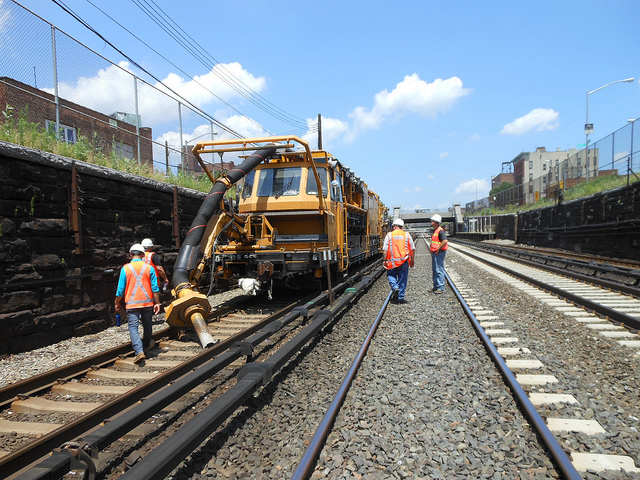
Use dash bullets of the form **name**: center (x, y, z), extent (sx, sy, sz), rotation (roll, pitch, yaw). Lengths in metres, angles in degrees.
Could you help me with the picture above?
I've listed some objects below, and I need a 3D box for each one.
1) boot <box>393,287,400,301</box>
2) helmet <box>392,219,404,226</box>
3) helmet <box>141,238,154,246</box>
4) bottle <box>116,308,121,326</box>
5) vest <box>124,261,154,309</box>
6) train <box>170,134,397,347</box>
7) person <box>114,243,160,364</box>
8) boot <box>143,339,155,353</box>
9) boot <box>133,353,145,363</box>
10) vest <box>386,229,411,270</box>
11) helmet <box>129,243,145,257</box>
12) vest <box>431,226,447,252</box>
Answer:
- **boot**: center (2.101, 1.510, 10.258), extent (0.117, 0.393, 0.144), rotation (-2, 17, 0)
- **helmet**: center (2.122, -0.460, 10.019), extent (0.221, 0.132, 0.166), rotation (8, 2, -6)
- **helmet**: center (-3.472, 0.060, 7.462), extent (0.176, 0.127, 0.227), rotation (-1, 6, -1)
- **bottle**: center (-3.601, 1.358, 6.627), extent (0.070, 0.271, 0.303), rotation (-5, 7, -32)
- **vest**: center (-3.385, 0.866, 6.913), extent (0.518, 0.956, 0.606), rotation (-12, -10, 26)
- **train**: center (-0.893, -0.540, 12.584), extent (2.848, 4.509, 12.066), rotation (-1, 1, 16)
- **person**: center (-3.284, 1.114, 6.757), extent (0.719, 2.009, 0.737), rotation (4, 8, 38)
- **boot**: center (-3.188, 1.969, 6.986), extent (0.134, 0.234, 0.331), rotation (-1, 6, -1)
- **boot**: center (-3.187, 2.072, 6.515), extent (0.180, 0.147, 0.108), rotation (-4, 7, -28)
- **vest**: center (2.210, 0.160, 10.248), extent (0.719, 1.182, 0.688), rotation (-1, 22, 17)
- **helmet**: center (-3.509, 0.202, 7.127), extent (0.281, 0.164, 0.368), rotation (2, -4, -30)
- **vest**: center (3.629, 0.020, 11.243), extent (0.524, 1.093, 0.753), rotation (2, 0, 10)
